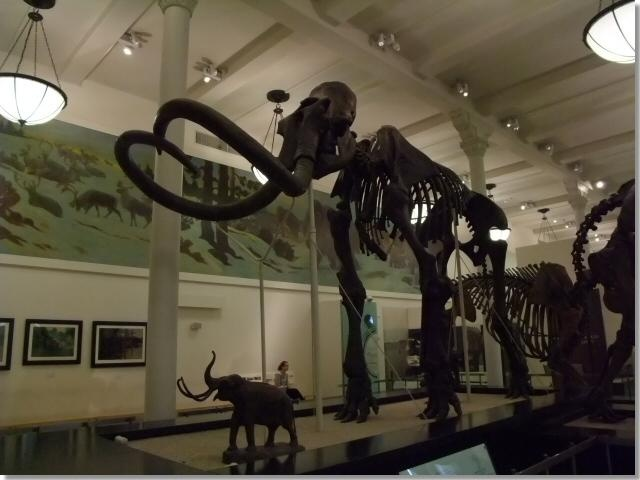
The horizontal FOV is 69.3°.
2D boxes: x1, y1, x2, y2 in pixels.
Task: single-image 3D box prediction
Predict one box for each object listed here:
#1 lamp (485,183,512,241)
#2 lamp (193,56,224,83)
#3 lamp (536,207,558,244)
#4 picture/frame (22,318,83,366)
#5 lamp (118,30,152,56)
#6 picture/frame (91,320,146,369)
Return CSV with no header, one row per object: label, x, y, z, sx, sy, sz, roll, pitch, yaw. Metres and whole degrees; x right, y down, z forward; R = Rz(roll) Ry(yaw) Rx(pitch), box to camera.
lamp,2.512,-0.371,6.659,0.227,0.861,0.299,-13,-2,-44
lamp,-2.104,-3.231,8.837,0.370,0.160,0.379,-11,-22,37
lamp,7.892,-0.464,16.293,0.647,1.218,0.607,-6,-17,23
picture/frame,-4.459,1.708,7.757,0.810,0.873,0.039,6,21,-27
lamp,-3.235,-3.407,8.078,0.582,0.611,0.379,-7,18,-29
picture/frame,-3.591,1.894,8.437,0.936,0.878,0.047,4,13,-16
